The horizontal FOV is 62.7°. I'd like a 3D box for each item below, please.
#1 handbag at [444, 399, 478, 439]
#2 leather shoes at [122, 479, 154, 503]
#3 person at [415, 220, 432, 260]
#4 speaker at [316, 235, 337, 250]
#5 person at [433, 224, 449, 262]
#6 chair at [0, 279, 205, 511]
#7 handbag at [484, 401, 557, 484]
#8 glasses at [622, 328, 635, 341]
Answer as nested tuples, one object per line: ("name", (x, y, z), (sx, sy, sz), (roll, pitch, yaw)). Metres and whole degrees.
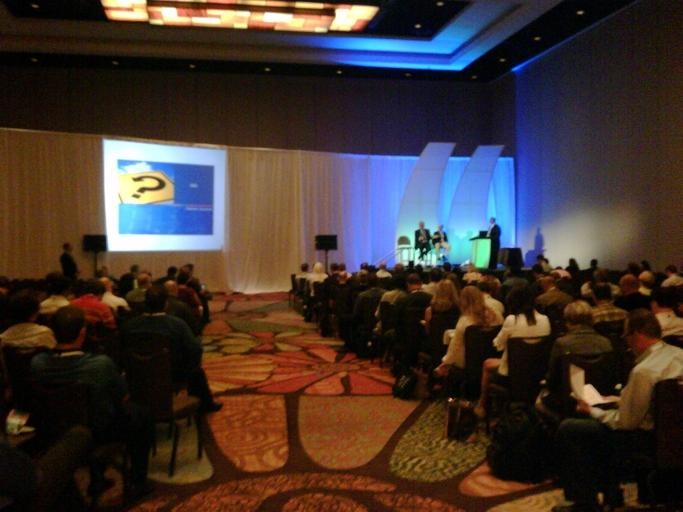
("handbag", (1.216, 1.759, 5.972), (0.277, 0.439, 0.307), (-4, 18, -32))
("leather shoes", (-1.780, 2.066, 4.968), (0.088, 0.194, 0.268), (4, 10, 33))
("person", (2.441, -0.363, 16.841), (0.489, 1.242, 0.937), (-1, 8, 7))
("speaker", (-0.448, -0.377, 16.036), (0.612, 0.383, 0.440), (1, -2, -6))
("person", (2.950, -0.318, 16.784), (0.487, 1.163, 1.183), (0, 9, 9))
("chair", (-2.532, 1.220, 5.424), (1.391, 2.196, 1.682), (0, 1, 13))
("handbag", (1.548, 1.757, 5.249), (0.618, 0.668, 0.505), (10, -13, -13))
("glasses", (2.318, 0.653, 4.579), (0.075, 0.136, 0.078), (1, -3, 15))
